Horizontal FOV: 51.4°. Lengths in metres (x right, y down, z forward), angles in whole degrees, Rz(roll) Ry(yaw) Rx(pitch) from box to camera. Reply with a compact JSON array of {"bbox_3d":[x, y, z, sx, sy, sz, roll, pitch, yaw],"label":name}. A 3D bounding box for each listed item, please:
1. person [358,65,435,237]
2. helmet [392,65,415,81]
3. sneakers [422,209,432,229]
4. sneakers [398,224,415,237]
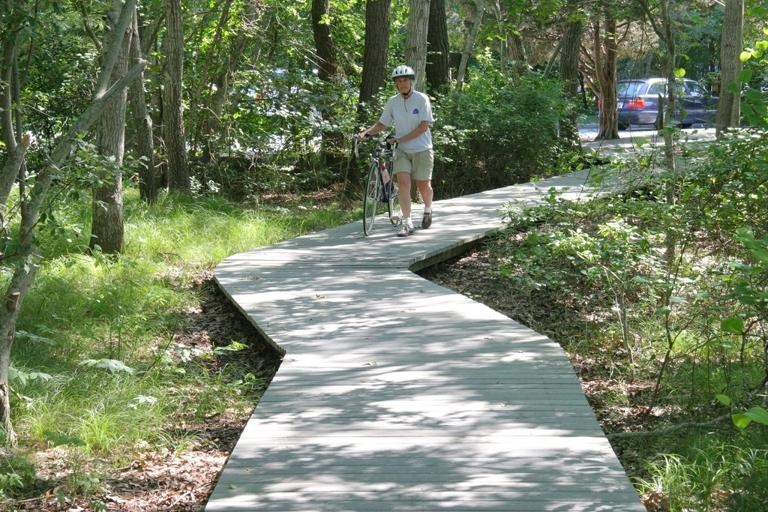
[{"bbox_3d":[0.390,-1.454,11.348,0.850,2.334,0.784,-4,4,-23],"label":"person"},{"bbox_3d":[0.271,-2.530,10.988,0.267,0.188,0.237,-2,4,2],"label":"helmet"},{"bbox_3d":[0.633,-0.550,11.953,0.112,0.293,0.123,7,10,16],"label":"sneakers"},{"bbox_3d":[0.326,-0.359,11.645,0.122,0.131,0.331,0,-1,17],"label":"sneakers"}]
